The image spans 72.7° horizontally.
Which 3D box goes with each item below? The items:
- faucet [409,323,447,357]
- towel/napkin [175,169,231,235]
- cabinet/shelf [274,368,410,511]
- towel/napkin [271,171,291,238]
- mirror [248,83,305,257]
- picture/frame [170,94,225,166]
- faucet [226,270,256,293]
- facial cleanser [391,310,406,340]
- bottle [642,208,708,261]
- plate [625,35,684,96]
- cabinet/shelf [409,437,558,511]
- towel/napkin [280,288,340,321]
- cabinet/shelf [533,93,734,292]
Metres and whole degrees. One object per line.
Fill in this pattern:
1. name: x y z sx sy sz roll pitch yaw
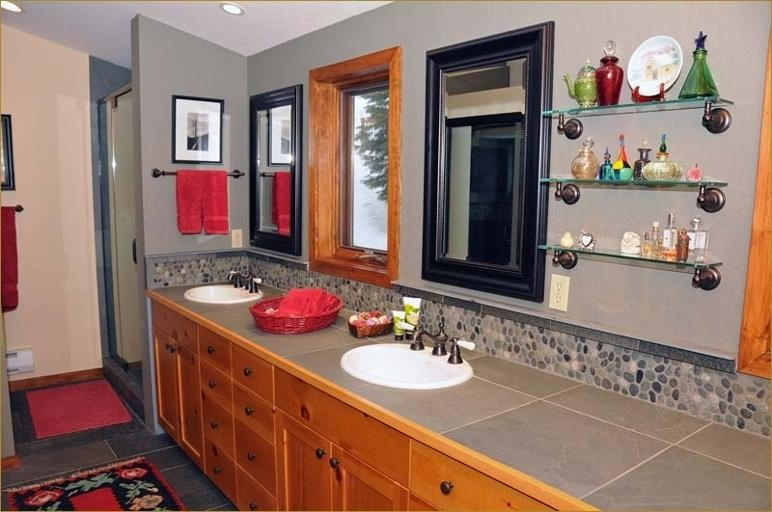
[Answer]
1. faucet: 0.227 0.408 2.634 0.097 0.154 0.244 2 1 -31
2. towel/napkin: -1.386 -0.404 3.900 0.499 0.627 0.088 -2 3 -32
3. cabinet/shelf: -0.187 0.809 2.310 0.682 0.408 0.376 10 12 41
4. towel/napkin: -0.746 -0.380 3.765 0.067 0.456 0.274 -7 16 -31
5. mirror: -0.806 -0.621 3.818 0.222 1.184 0.769 -8 16 -32
6. picture/frame: -1.417 -0.939 3.872 0.542 0.660 0.048 -4 10 -39
7. faucet: -1.069 0.177 3.854 0.126 0.147 0.418 -8 9 -39
8. facial cleanser: 0.072 0.367 2.748 0.059 0.151 0.085 1 14 0
9. bottle: 1.138 -0.073 2.060 0.240 0.179 0.150 9 16 30
10. plate: 1.077 -0.765 2.107 0.052 0.212 0.210 3 6 -42
11. cabinet/shelf: 0.290 0.728 1.910 0.251 0.210 0.431 6 1 -42
12. towel/napkin: -0.431 0.271 3.006 0.208 0.074 0.203 5 8 36
13. cabinet/shelf: 1.052 -0.270 2.161 0.228 0.866 0.850 -4 7 -43
